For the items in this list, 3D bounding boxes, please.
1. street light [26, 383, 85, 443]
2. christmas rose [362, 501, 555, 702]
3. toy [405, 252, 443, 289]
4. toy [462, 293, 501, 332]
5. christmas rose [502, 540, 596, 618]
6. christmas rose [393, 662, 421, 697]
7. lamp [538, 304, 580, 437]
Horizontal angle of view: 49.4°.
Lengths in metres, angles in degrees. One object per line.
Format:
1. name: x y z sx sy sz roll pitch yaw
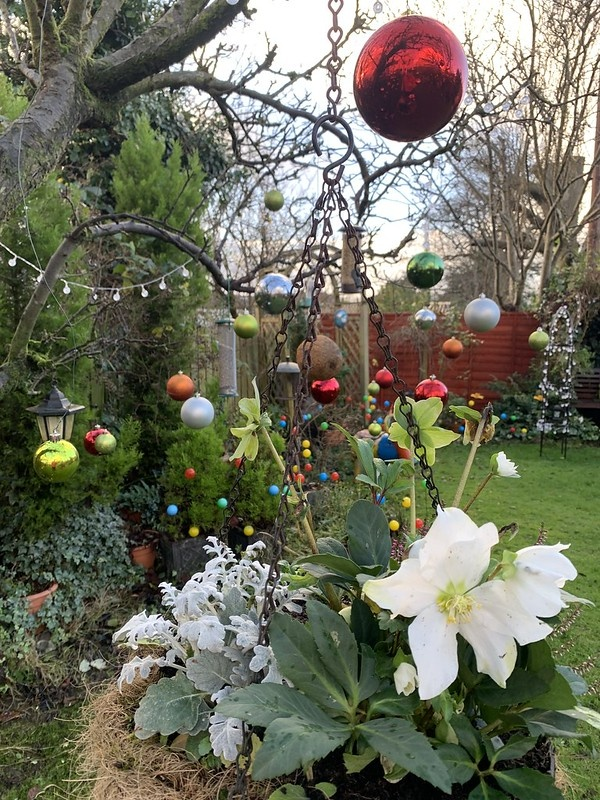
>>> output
1. street light: -0.959 0.053 2.556 0.212 0.220 0.190 -1 10 -20
2. christmas rose: 0.216 0.270 0.966 0.258 0.255 0.078 39 -7 0
3. toy: 0.522 -0.551 2.829 0.153 0.180 0.155 -1 -1 28
4. toy: 0.715 -0.348 2.638 0.151 0.178 0.156 2 -1 34
5. christmas rose: 0.337 0.239 0.885 0.123 0.099 0.075 6 2 -38
6. christmas rose: 0.150 0.394 0.925 0.036 0.041 0.043 10 12 -14
7. lamp: 2.976 -0.297 7.476 0.413 1.720 1.433 8 2 21
